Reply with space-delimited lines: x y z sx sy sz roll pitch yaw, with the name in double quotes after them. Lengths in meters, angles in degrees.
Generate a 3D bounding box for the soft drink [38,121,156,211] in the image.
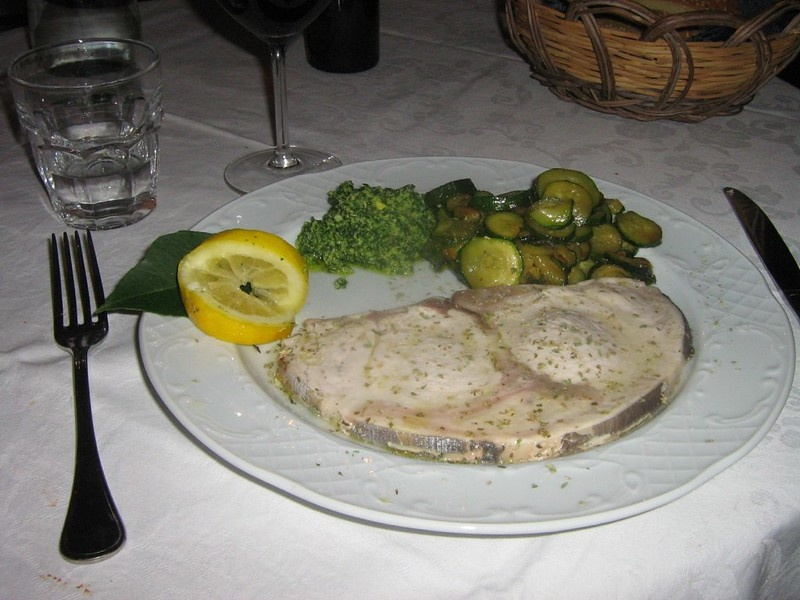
-0.798 -0.382 2.076 0.372 0.195 0.286 7 29 6 "soft drink"
